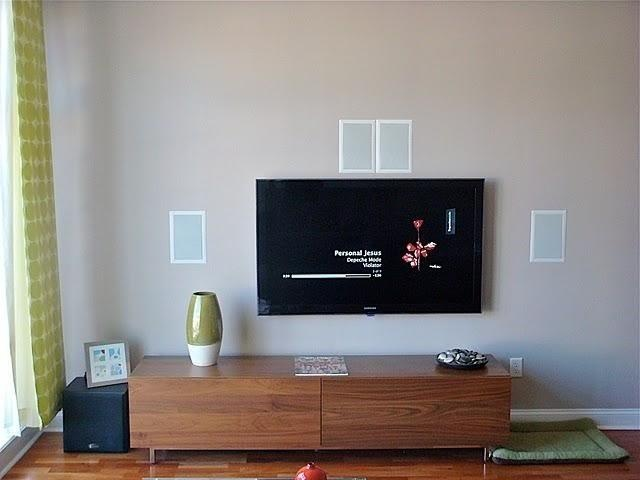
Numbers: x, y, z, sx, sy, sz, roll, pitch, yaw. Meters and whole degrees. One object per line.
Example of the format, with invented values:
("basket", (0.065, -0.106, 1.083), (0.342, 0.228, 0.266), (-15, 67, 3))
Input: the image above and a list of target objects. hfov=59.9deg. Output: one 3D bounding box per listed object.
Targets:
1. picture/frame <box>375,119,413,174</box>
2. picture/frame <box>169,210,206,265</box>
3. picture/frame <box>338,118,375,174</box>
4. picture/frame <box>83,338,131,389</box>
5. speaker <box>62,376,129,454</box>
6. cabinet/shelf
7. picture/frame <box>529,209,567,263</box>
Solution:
("picture/frame", (0.529, -0.650, 3.883), (0.297, 0.373, 0.040), (8, 16, 37))
("picture/frame", (-0.924, -0.018, 3.896), (0.288, 0.368, 0.028), (1, 2, 17))
("picture/frame", (0.257, -0.648, 3.885), (0.300, 0.376, 0.039), (-4, 9, -24))
("picture/frame", (-1.445, 0.846, 3.761), (0.281, 0.297, 0.020), (-6, -13, -23))
("speaker", (-1.469, 1.184, 3.850), (0.443, 0.410, 0.433), (0, 2, -1))
("cabinet/shelf", (0.016, 1.231, 3.779), (2.486, 0.554, 0.513), (0, -9, 1))
("picture/frame", (1.626, -0.023, 3.953), (0.281, 0.365, 0.014), (0, 3, -14))
